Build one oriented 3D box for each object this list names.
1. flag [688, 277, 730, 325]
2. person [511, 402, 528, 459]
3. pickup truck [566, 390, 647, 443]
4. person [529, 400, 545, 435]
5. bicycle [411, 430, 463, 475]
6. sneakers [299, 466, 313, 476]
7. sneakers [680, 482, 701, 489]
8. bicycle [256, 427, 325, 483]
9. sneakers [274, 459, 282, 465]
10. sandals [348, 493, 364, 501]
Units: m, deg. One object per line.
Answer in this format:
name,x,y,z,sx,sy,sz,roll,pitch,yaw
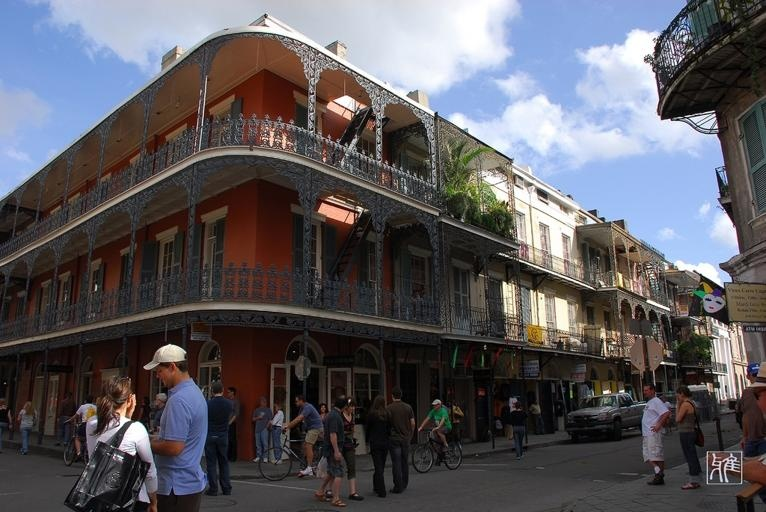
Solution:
flag,8.109,1.071,14.565,0.801,1.393,1.130,-13,-21,23
person,4.638,5.856,19.668,0.458,1.833,1.286,-7,-20,9
pickup truck,10.080,7.044,25.560,1.808,1.285,3.751,-20,-30,31
person,7.442,7.796,28.110,0.610,1.572,1.319,-9,-20,13
bicycle,1.413,6.119,17.731,1.843,1.107,0.916,20,-38,-37
sneakers,-2.069,5.901,15.929,0.403,0.269,0.256,7,-17,13
sneakers,6.891,5.137,13.029,0.415,0.153,0.166,4,-20,-3
bicycle,-2.679,5.844,16.781,2.577,1.611,1.249,18,-28,-33
sneakers,-2.865,5.632,15.867,0.154,0.098,0.097,0,-9,-1
sandals,-0.625,5.560,13.453,0.273,0.121,0.152,-5,-11,24
